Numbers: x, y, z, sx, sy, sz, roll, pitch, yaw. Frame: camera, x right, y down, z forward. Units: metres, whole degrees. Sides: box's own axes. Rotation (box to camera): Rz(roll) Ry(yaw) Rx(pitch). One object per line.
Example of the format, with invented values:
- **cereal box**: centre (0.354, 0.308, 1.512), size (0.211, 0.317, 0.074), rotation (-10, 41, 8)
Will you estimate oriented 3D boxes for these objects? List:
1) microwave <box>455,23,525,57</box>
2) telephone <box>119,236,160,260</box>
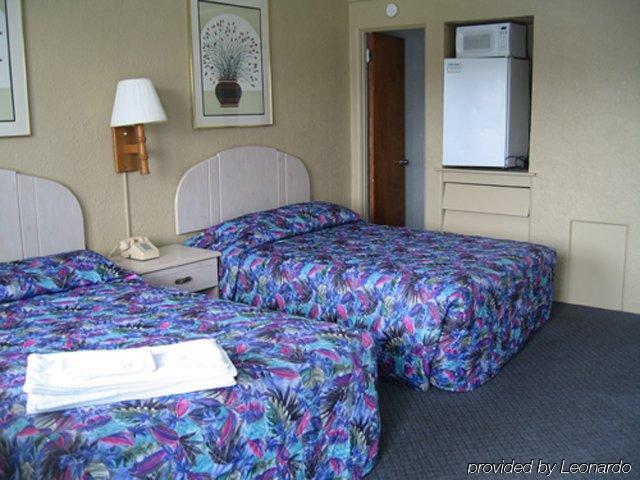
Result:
- **microwave**: centre (1.622, -1.844, 4.676), size (0.680, 0.320, 0.424), rotation (0, 12, 8)
- **telephone**: centre (-1.288, 0.042, 3.584), size (0.181, 0.116, 0.206), rotation (6, 13, 25)
